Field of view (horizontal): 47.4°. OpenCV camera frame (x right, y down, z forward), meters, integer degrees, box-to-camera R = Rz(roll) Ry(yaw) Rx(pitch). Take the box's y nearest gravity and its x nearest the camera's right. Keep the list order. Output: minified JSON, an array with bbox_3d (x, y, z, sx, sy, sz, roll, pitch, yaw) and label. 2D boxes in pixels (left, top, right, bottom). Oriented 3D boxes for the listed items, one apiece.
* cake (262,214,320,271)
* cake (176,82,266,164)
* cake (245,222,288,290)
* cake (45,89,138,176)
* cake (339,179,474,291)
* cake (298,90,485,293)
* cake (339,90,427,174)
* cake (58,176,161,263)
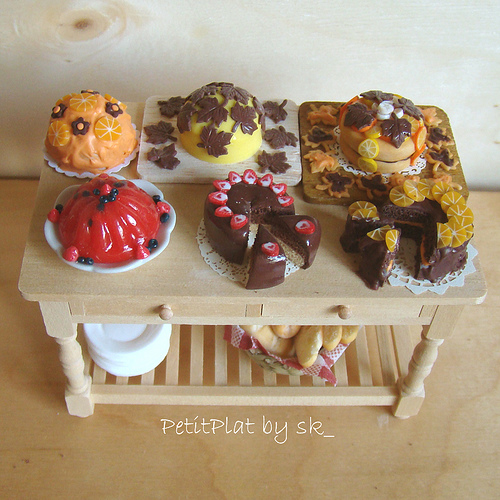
[{"bbox_3d":[0.101,-0.014,1.380,0.076,0.078,0.124,-33,59,-27],"label":"cake"},{"bbox_3d":[-0.079,-0.329,1.506,0.268,0.145,0.220,5,48,0],"label":"cake"},{"bbox_3d":[0.035,0.018,1.354,0.092,0.049,0.142,-2,51,-13],"label":"cake"},{"bbox_3d":[-0.419,-0.300,1.535,0.275,0.105,0.220,14,66,1],"label":"cake"},{"bbox_3d":[0.386,-0.048,1.416,0.313,0.101,0.241,-16,55,-15],"label":"cake"},{"bbox_3d":[0.392,-0.207,1.505,0.484,0.131,0.581,-4,63,-7],"label":"cake"},{"bbox_3d":[0.357,-0.308,1.566,0.268,0.139,0.212,0,58,0],"label":"cake"},{"bbox_3d":[-0.341,-0.065,1.351,0.257,0.103,0.205,-2,52,-8],"label":"cake"}]
